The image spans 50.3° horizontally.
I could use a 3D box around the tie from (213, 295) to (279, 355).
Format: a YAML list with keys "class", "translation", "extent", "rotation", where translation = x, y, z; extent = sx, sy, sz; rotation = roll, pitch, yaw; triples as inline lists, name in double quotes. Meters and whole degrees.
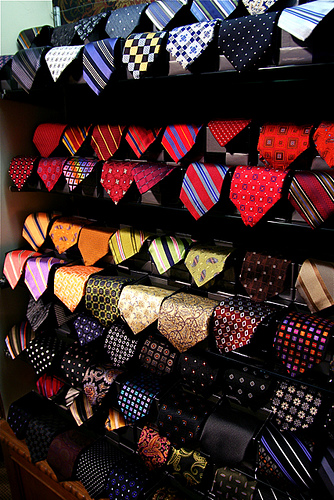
- class: "tie"
  translation: [0.209, 0.209, 0.982]
  extent: [0.165, 0.127, 0.167]
  rotation: [14, 61, 25]

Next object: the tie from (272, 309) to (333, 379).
- class: "tie"
  translation: [0.324, 0.231, 0.871]
  extent: [0.112, 0.097, 0.122]
  rotation: [21, 65, 29]

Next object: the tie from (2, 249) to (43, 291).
- class: "tie"
  translation: [-0.626, 0.072, 1.584]
  extent: [0.138, 0.052, 0.187]
  rotation: [18, 80, 30]

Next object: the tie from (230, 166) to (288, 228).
- class: "tie"
  translation: [0.223, -0.123, 0.891]
  extent: [0.129, 0.033, 0.142]
  rotation: [20, 101, 44]

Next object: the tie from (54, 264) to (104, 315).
- class: "tie"
  translation: [-0.325, 0.123, 1.392]
  extent: [0.167, 0.127, 0.171]
  rotation: [11, 27, 30]

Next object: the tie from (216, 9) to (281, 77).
- class: "tie"
  translation: [0.169, -0.465, 0.809]
  extent: [0.155, 0.094, 0.092]
  rotation: [18, 63, 28]
